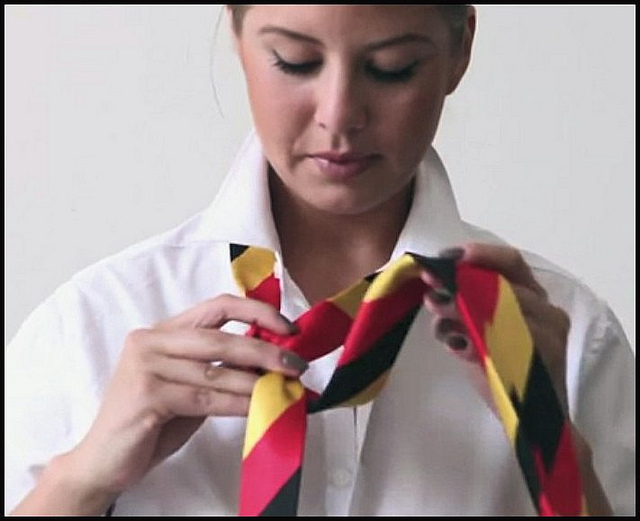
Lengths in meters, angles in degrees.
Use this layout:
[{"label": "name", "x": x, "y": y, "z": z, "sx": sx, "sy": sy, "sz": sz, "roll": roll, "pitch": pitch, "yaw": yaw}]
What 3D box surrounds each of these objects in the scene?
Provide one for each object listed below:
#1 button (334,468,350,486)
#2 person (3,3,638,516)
[{"label": "button", "x": 0.035, "y": 0.338, "z": 1.278, "sx": 0.025, "sy": 0.019, "sz": 0.025, "roll": -1, "pitch": -5, "yaw": -14}, {"label": "person", "x": 0.016, "y": 0.021, "z": 1.241, "sx": 0.789, "sy": 0.684, "sz": 0.461, "roll": 1, "pitch": -3, "yaw": 0}]
